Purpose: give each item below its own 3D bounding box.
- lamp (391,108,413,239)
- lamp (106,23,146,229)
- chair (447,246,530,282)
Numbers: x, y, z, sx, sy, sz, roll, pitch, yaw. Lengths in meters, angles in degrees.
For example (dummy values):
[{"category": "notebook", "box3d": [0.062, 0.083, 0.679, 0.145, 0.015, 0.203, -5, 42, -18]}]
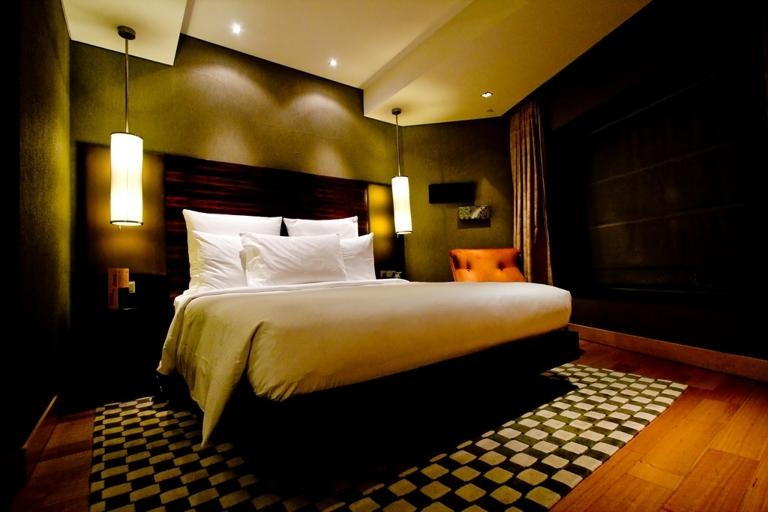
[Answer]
[{"category": "lamp", "box3d": [0.172, -0.955, 5.705, 0.234, 0.956, 0.463, -5, 3, 3]}, {"category": "lamp", "box3d": [-2.199, -1.090, 4.140, 0.361, 1.633, 0.394, -7, 3, -26]}, {"category": "chair", "box3d": [1.105, 0.085, 5.231, 0.746, 0.371, 0.423, -5, 2, -2]}]
